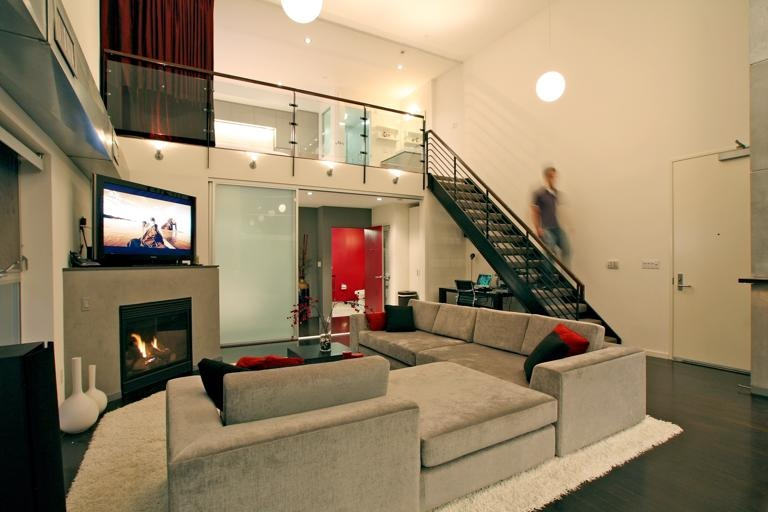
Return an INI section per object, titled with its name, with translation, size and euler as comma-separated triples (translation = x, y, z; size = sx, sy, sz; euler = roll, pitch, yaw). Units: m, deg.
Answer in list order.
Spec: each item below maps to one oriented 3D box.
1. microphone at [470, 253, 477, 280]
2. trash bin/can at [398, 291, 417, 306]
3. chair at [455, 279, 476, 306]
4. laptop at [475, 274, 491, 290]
[microphone]
translation = 1.792, 0.198, 11.420
size = 0.062, 0.410, 0.202
euler = -1, 0, -26
[trash bin/can]
translation = 0.466, 0.843, 11.423
size = 0.291, 0.319, 0.298
euler = -1, 4, 1
[chair]
translation = 1.493, 0.680, 10.220
size = 0.396, 0.531, 0.385
euler = 1, 0, -39
[laptop]
translation = 1.836, 0.466, 10.420
size = 0.237, 0.304, 0.323
euler = 9, -6, -38
